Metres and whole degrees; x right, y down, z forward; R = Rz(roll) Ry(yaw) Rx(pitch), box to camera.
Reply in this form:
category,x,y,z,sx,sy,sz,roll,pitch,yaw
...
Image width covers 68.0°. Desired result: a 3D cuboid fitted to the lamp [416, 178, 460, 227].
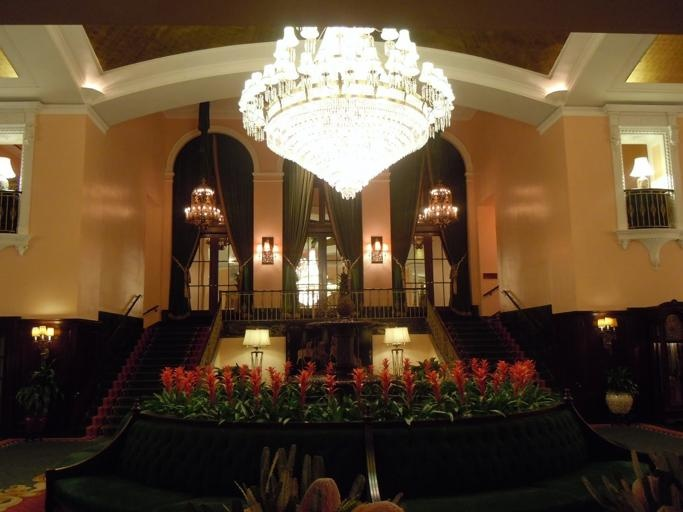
category,x,y,z,sx,sy,sz,roll,pitch,yaw
lamp,2.862,-1.534,14.308,1.176,1.542,1.275,0,0,-7

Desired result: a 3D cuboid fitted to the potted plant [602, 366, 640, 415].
category,x,y,z,sx,sy,sz,roll,pitch,yaw
potted plant,5.357,2.588,9.673,0.603,0.914,0.328,-2,-9,1

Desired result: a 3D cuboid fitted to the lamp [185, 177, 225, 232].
category,x,y,z,sx,sy,sz,roll,pitch,yaw
lamp,-3.673,-1.338,13.499,0.893,1.422,0.940,0,4,-21

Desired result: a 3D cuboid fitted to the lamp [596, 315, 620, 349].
category,x,y,z,sx,sy,sz,roll,pitch,yaw
lamp,5.223,1.474,9.886,0.481,0.645,0.256,1,-9,-17

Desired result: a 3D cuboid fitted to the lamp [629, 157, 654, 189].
category,x,y,z,sx,sy,sz,roll,pitch,yaw
lamp,6.479,-1.743,10.892,0.398,0.816,0.846,-7,-11,33

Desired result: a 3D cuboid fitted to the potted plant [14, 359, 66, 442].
category,x,y,z,sx,sy,sz,roll,pitch,yaw
potted plant,-5.454,2.582,9.123,0.662,1.368,0.494,4,-10,-28
